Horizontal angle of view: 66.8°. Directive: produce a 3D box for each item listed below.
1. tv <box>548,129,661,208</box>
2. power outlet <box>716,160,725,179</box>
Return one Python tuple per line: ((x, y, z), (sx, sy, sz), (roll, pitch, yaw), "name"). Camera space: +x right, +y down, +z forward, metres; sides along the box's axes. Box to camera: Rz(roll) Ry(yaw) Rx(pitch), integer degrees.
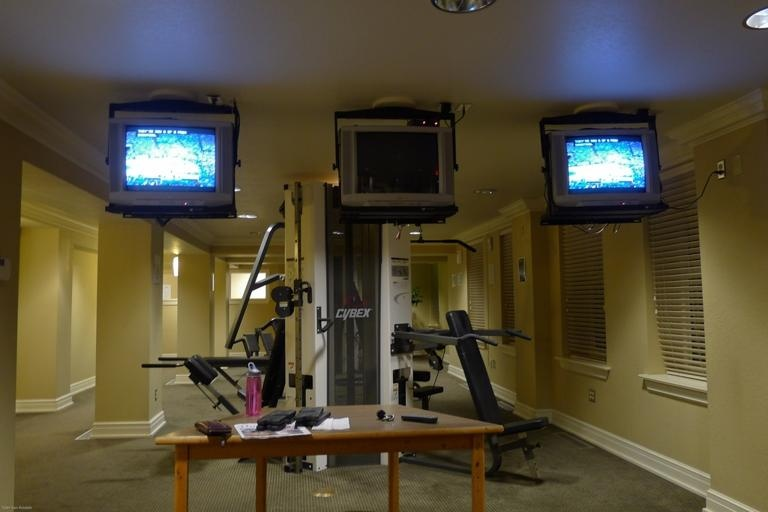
((1.917, -0.742, 5.259), (1.164, 0.808, 0.623), (-1, -5, -1), "tv")
((3.179, -0.814, 5.491), (0.029, 0.170, 0.097), (-5, 16, -25), "power outlet")
